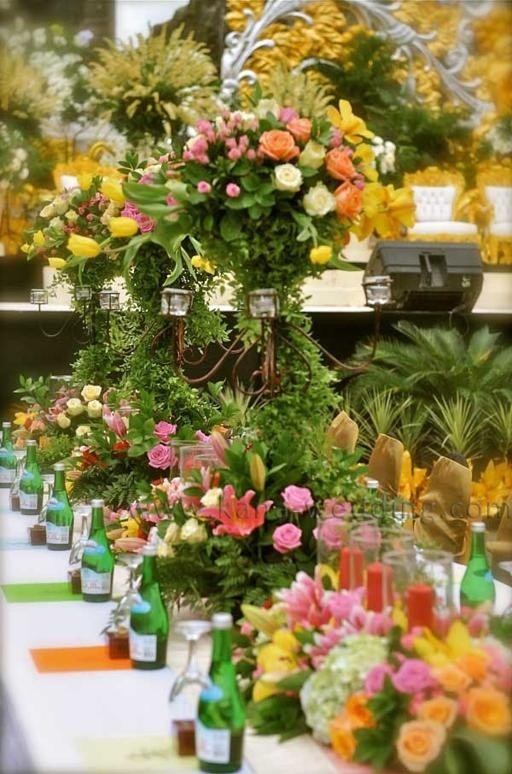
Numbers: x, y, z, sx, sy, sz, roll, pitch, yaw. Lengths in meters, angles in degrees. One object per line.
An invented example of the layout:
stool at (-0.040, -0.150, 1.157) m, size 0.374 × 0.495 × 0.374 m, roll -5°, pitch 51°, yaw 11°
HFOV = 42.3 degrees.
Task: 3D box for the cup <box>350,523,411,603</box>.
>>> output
cup at (0.165, 0.219, 0.853) m, size 0.084 × 0.089 × 0.083 m, roll 2°, pitch 1°, yaw 0°

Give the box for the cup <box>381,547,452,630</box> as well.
cup at (0.195, 0.233, 0.828) m, size 0.093 × 0.098 × 0.092 m, roll -2°, pitch 4°, yaw 0°

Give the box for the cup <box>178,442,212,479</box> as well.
cup at (-0.130, 0.154, 1.377) m, size 0.070 × 0.072 × 0.069 m, roll 1°, pitch -3°, yaw 0°

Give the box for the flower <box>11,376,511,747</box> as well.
flower at (0.021, 0.237, 0.931) m, size 0.519 × 0.196 × 0.509 m, roll 1°, pitch 5°, yaw 9°

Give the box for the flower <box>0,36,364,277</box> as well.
flower at (-0.043, -0.428, 1.553) m, size 0.913 × 0.442 × 0.871 m, roll -4°, pitch 9°, yaw -2°

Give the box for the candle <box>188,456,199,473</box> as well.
candle at (-0.126, 0.154, 1.336) m, size 0.020 × 0.021 × 0.020 m, roll 0°, pitch 1°, yaw -8°

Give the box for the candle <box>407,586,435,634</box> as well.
candle at (0.193, 0.258, 0.778) m, size 0.030 × 0.060 × 0.014 m, roll 2°, pitch 8°, yaw 20°

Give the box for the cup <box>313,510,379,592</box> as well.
cup at (0.107, 0.223, 0.913) m, size 0.092 × 0.093 × 0.089 m, roll 0°, pitch 1°, yaw 0°
